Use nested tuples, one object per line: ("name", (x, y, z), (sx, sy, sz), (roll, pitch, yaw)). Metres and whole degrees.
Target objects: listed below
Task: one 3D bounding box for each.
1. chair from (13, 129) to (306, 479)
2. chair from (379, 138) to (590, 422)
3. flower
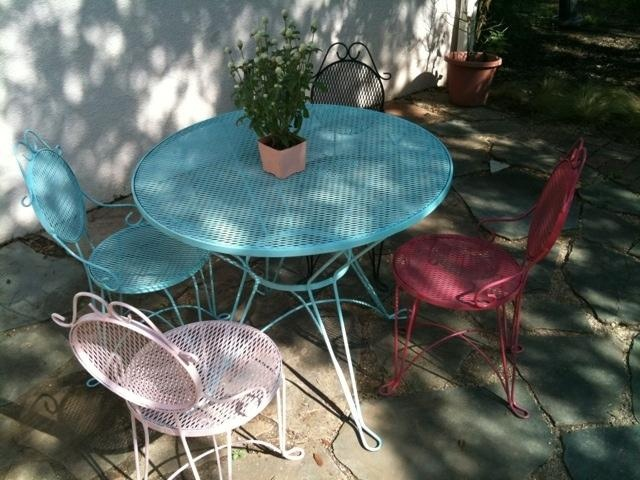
("chair", (-0.800, 0.378, 2.914), (0.942, 1.060, 1.694), (-16, 40, -30))
("chair", (0.769, 0.142, 2.870), (0.798, 1.337, 0.809), (8, 42, 7))
("flower", (-0.228, -0.739, 2.799), (0.420, 0.744, 0.419), (-4, 42, -7))
